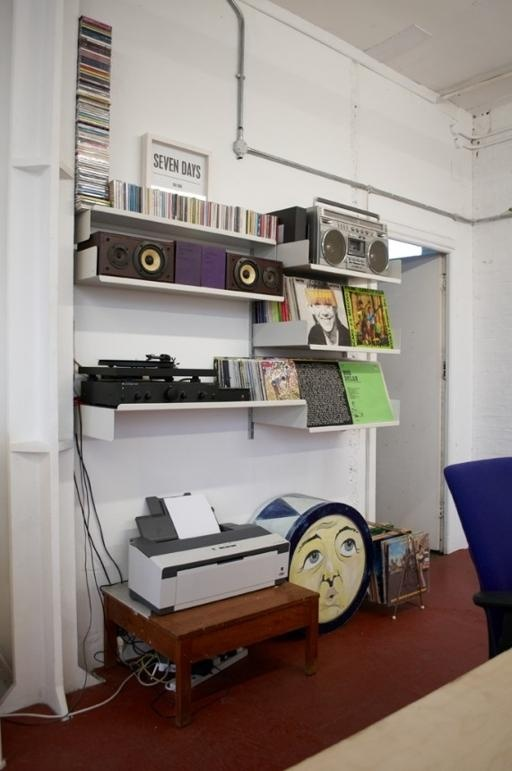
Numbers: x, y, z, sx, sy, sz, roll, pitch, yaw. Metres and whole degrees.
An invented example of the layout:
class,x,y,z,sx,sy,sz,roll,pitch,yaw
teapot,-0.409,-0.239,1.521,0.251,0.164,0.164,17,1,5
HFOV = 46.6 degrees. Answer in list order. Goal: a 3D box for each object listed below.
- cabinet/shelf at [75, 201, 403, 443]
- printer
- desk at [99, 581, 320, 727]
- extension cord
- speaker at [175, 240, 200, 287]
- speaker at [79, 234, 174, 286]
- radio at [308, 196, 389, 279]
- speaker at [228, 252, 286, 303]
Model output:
class,x,y,z,sx,sy,sz,roll,pitch,yaw
cabinet/shelf,-0.105,-0.290,2.643,1.251,0.629,0.215,1,-6,-45
printer,-0.233,0.621,2.250,0.506,0.374,0.350,3,3,-40
desk,-0.172,0.960,2.327,0.689,0.330,0.615,2,-2,-39
extension cord,-0.184,1.065,2.343,0.098,0.143,0.386,0,1,35
speaker,-0.271,-0.484,2.377,0.038,0.170,0.136,-1,-2,38
speaker,-0.468,-0.460,2.226,0.317,0.189,0.171,0,8,-40
radio,0.466,-0.747,3.045,0.468,0.342,0.182,3,1,-31
speaker,0.003,-0.471,2.611,0.207,0.188,0.144,0,6,-43
